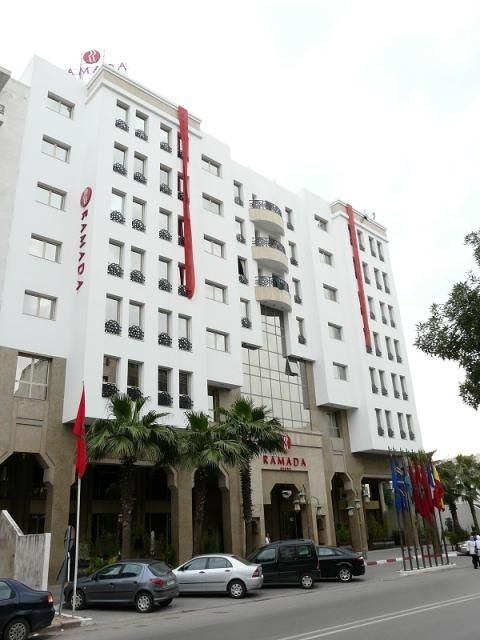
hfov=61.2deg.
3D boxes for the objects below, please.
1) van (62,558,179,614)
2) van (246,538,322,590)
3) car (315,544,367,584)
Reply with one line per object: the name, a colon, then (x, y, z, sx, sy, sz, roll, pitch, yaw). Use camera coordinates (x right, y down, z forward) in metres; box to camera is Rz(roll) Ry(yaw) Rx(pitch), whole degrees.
van: (-3.382, 7.697, 12.086, 2.608, 1.332, 1.707, -5, -42, 10)
van: (1.811, 10.081, 16.588, 2.674, 1.605, 1.684, -1, -40, 6)
car: (4.698, 10.818, 18.063, 2.622, 1.313, 1.442, 4, -31, 4)
